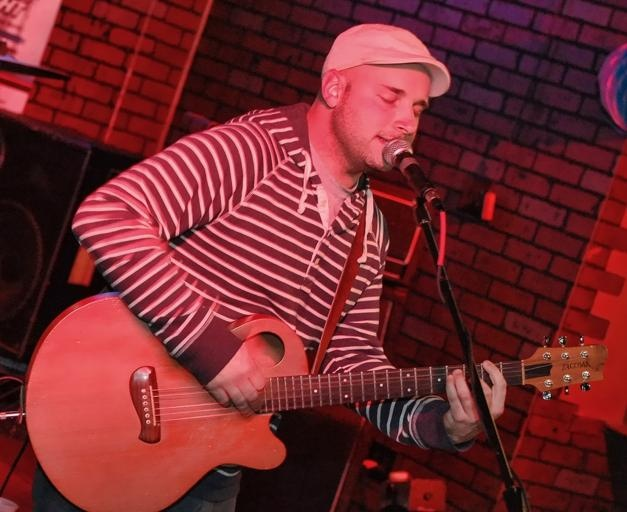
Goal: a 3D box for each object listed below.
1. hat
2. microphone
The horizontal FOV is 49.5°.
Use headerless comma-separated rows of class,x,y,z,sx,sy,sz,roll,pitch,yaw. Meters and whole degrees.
hat,0.280,-0.737,2.543,0.343,0.171,0.255,5,-4,20
microphone,0.350,-0.283,2.375,0.114,0.122,0.388,-1,30,-15
